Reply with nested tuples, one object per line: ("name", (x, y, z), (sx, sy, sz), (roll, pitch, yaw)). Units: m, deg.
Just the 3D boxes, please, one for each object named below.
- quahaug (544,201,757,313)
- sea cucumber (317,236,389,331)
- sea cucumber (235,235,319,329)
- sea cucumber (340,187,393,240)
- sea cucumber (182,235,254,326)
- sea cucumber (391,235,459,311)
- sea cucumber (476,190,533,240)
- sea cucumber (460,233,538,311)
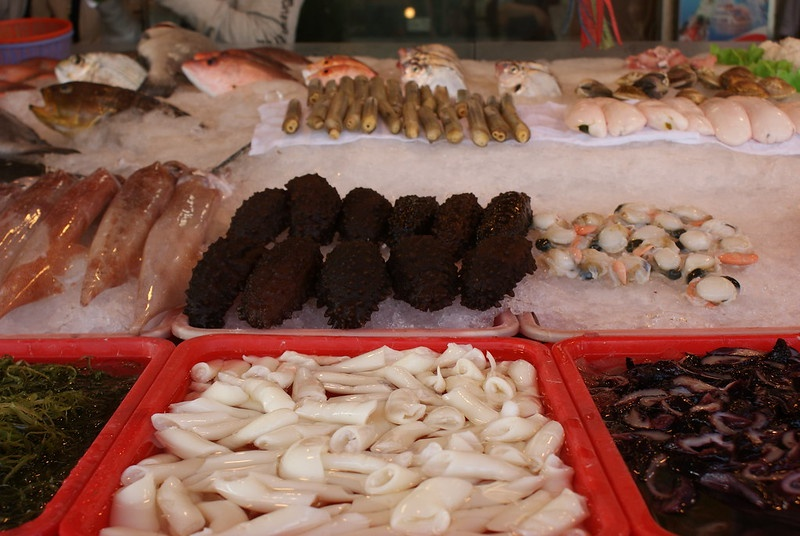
("quahaug", (0.711, -0.045, 1.951), (0.483, 0.089, 0.319), (1, 37, 12))
("sea cucumber", (-0.131, 0.039, 1.795), (0.202, 0.077, 0.230), (15, 66, 7))
("sea cucumber", (-0.346, 0.025, 1.850), (0.232, 0.085, 0.334), (11, 43, 9))
("sea cucumber", (-0.105, -0.158, 1.943), (0.148, 0.080, 0.147), (10, 65, -1))
("sea cucumber", (-0.506, 0.037, 1.899), (0.151, 0.082, 0.265), (24, 77, 3))
("sea cucumber", (0.066, 0.020, 1.863), (0.196, 0.131, 0.201), (-3, 56, -9))
("sea cucumber", (0.310, -0.148, 1.956), (0.129, 0.115, 0.191), (9, 37, 17))
("sea cucumber", (0.279, -0.002, 1.838), (0.172, 0.074, 0.223), (28, 68, 25))
